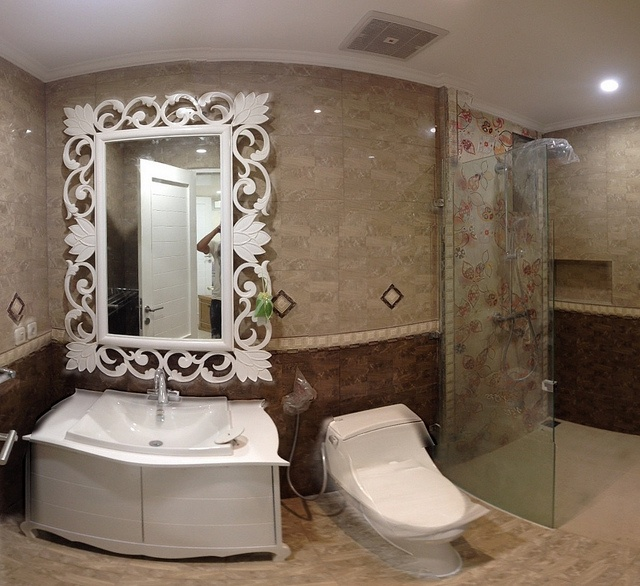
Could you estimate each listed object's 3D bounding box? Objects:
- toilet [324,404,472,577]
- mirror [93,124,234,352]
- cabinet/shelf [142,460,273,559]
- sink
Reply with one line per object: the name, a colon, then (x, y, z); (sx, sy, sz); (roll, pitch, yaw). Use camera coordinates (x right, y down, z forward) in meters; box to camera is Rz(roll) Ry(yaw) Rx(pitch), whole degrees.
toilet: (0.388, 1.000, 2.754); (0.594, 0.827, 0.762); (1, 0, -21)
mirror: (-0.866, -0.296, 2.909); (0.767, 1.178, 0.158); (1, 0, 13)
cabinet/shelf: (-0.535, 0.927, 2.570); (0.776, 0.455, 0.402); (0, 2, 3)
sink: (-0.827, 0.666, 2.739); (0.835, 0.299, 0.443); (1, 1, 4)
